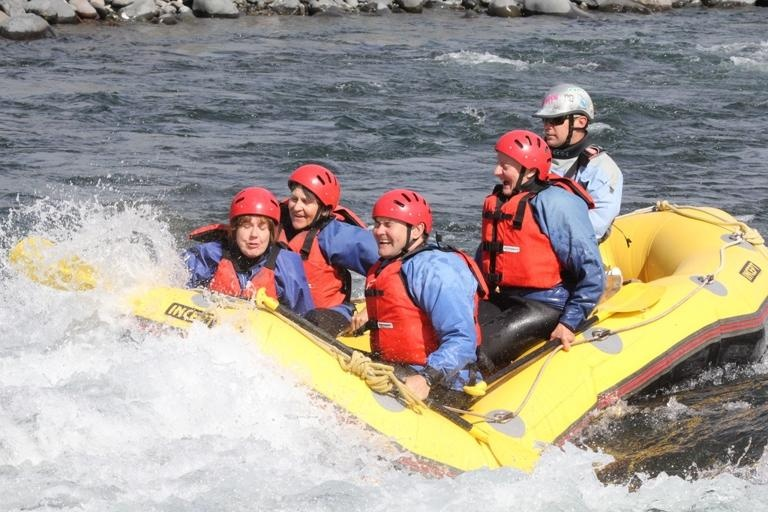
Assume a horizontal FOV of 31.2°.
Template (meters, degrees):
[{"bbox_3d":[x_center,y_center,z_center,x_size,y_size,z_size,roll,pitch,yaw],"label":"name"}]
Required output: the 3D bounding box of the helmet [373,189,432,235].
[{"bbox_3d":[0.215,-0.551,17.766,0.721,0.391,0.533,15,-7,-15],"label":"helmet"}]

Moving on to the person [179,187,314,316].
[{"bbox_3d":[-1.790,0.006,18.115,1.625,1.597,0.940,18,-13,8],"label":"person"}]
